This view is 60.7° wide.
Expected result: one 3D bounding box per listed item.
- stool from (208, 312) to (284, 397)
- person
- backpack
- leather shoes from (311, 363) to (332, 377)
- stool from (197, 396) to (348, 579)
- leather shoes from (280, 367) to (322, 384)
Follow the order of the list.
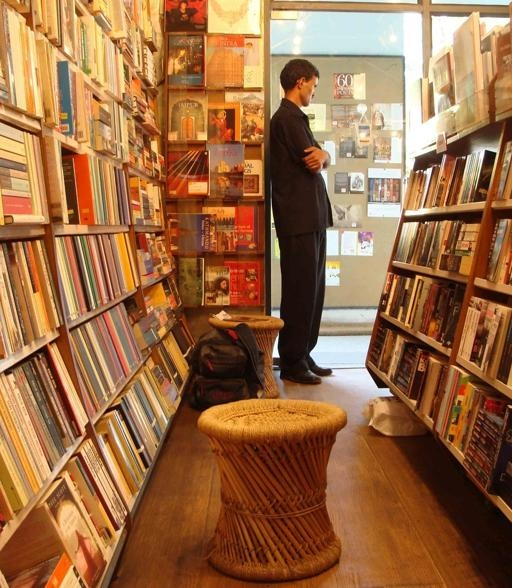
[{"bbox_3d":[0.029,0.423,3.100,0.523,0.626,0.556,-5,-5,36],"label":"stool"},{"bbox_3d":[0.336,-0.517,3.343,0.474,2.411,0.494,0,2,4],"label":"person"},{"bbox_3d":[-0.192,0.465,2.964,0.508,0.601,0.446,1,0,0],"label":"backpack"},{"bbox_3d":[0.531,0.613,3.572,0.207,0.095,0.077,2,0,36],"label":"leather shoes"},{"bbox_3d":[0.041,0.549,1.437,0.462,0.470,0.455,-1,1,-2],"label":"stool"},{"bbox_3d":[0.348,0.623,3.441,0.280,0.135,0.124,0,-1,16],"label":"leather shoes"}]
